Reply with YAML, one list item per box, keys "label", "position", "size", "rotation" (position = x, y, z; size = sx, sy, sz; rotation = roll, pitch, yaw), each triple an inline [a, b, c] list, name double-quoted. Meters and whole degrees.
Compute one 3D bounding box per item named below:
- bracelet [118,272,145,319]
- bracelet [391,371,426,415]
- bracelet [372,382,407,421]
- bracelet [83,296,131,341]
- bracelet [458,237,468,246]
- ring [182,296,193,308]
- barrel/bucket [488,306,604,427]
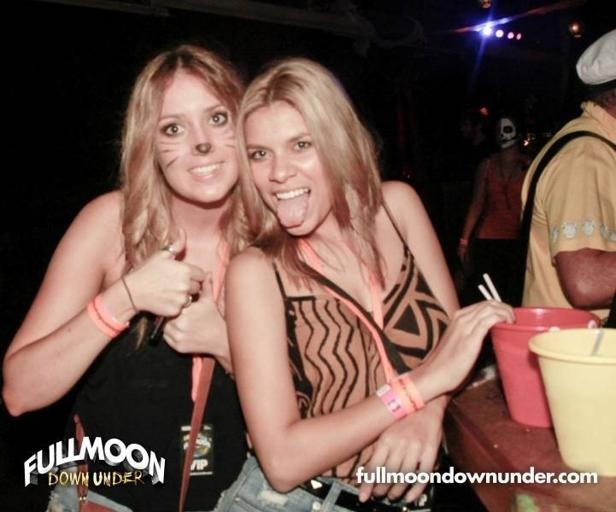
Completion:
- label: "bracelet"
  position: [-0.761, 0.164, 2.158]
  size: [0.033, 0.133, 0.115]
  rotation: [-27, -12, -3]
- label: "bracelet"
  position: [0.360, 0.487, 1.850]
  size: [0.099, 0.134, 0.056]
  rotation: [-30, -10, 2]
- label: "bracelet"
  position: [0.301, 0.518, 1.847]
  size: [0.081, 0.128, 0.126]
  rotation: [-38, 1, -4]
- label: "bracelet"
  position: [-0.834, 0.255, 2.118]
  size: [0.064, 0.132, 0.176]
  rotation: [-36, -23, 3]
- label: "bracelet"
  position: [1.852, -0.165, 6.181]
  size: [0.076, 0.060, 0.078]
  rotation: [5, 8, 38]
- label: "ring"
  position: [-0.511, 0.197, 2.211]
  size: [0.040, 0.033, 0.047]
  rotation: [-24, -3, -5]
- label: "barrel/bucket"
  position: [0.817, 0.391, 1.897]
  size: [0.350, 0.350, 0.372]
  rotation: [-4, 12, 1]
